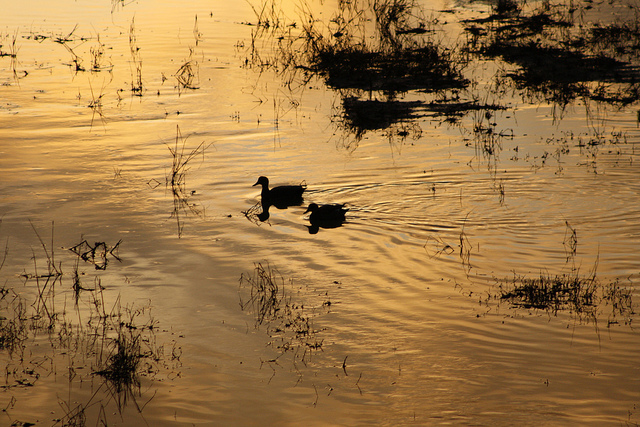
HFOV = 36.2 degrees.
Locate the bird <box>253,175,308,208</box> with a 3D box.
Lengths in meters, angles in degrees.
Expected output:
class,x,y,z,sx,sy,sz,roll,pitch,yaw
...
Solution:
class,x,y,z,sx,sy,sz,roll,pitch,yaw
bird,-1.030,-0.569,26.524,1.208,0.775,0.818,0,7,0
